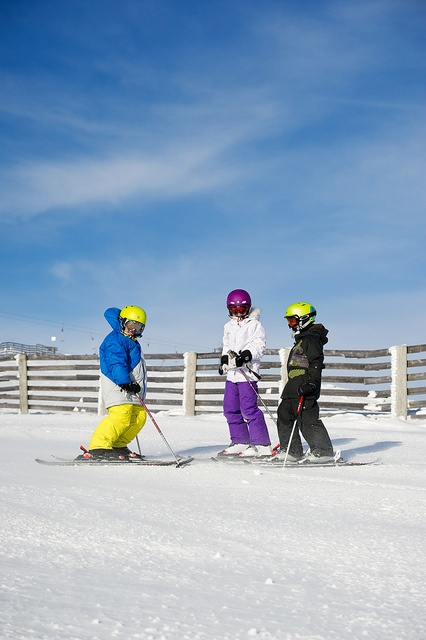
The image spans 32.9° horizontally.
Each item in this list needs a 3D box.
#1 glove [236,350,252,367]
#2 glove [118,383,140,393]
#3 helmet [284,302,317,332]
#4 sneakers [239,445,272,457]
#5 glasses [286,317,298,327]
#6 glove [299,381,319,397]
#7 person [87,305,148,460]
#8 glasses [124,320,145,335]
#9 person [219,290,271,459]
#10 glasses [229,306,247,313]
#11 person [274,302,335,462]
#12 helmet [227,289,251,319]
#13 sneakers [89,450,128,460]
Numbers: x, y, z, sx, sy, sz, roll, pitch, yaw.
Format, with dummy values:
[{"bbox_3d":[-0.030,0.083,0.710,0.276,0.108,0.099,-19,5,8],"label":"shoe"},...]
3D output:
[{"bbox_3d":[0.243,0.318,5.985,0.126,0.135,0.139,-1,-4,10],"label":"glove"},{"bbox_3d":[-0.619,0.507,5.331,0.121,0.041,0.084,-4,-9,19],"label":"glove"},{"bbox_3d":[0.675,-0.014,5.486,0.286,0.232,0.209,7,-3,8],"label":"helmet"},{"bbox_3d":[0.339,1.068,5.872,0.256,0.084,0.244,-1,-4,4],"label":"sneakers"},{"bbox_3d":[0.606,0.013,5.530,0.067,0.075,0.065,3,10,26],"label":"glasses"},{"bbox_3d":[0.741,0.550,5.659,0.130,0.116,0.249,-2,-4,15],"label":"glove"},{"bbox_3d":[-0.734,0.460,5.487,0.418,1.137,0.550,0,-4,-6],"label":"person"},{"bbox_3d":[-0.608,0.054,5.478,0.085,0.082,0.108,30,-8,-40],"label":"glasses"},{"bbox_3d":[0.254,0.435,6.159,0.417,1.388,0.688,-1,-4,0],"label":"person"},{"bbox_3d":[0.209,-0.092,6.233,0.120,0.050,0.130,-1,-18,2],"label":"glasses"},{"bbox_3d":[0.716,0.481,5.760,0.447,1.257,0.599,-1,-4,6],"label":"person"},{"bbox_3d":[0.225,-0.144,6.285,0.251,0.267,0.289,-2,15,7],"label":"helmet"},{"bbox_3d":[-0.772,0.986,5.250,0.308,0.116,0.096,0,-15,2],"label":"sneakers"}]
